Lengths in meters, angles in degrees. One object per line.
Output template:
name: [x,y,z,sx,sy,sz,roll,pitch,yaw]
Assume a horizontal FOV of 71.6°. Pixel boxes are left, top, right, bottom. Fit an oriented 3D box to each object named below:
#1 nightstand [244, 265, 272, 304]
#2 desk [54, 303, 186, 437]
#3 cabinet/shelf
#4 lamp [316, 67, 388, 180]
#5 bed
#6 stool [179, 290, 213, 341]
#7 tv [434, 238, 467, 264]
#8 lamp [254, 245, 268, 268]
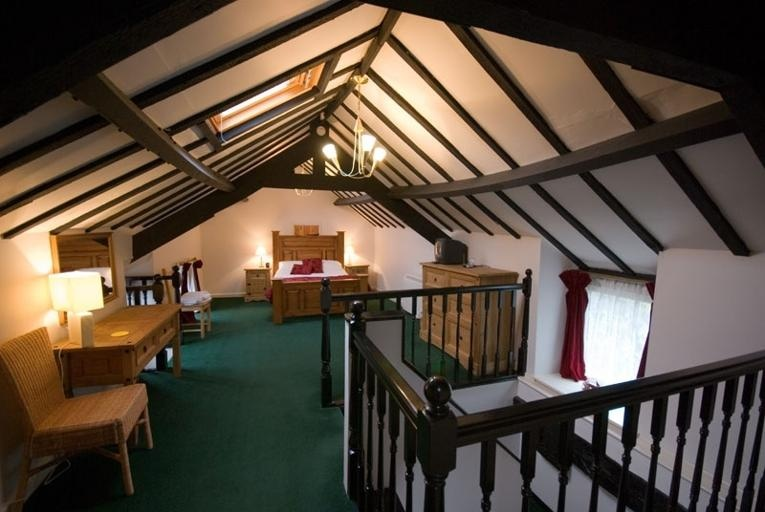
nightstand: [-2.226,0.570,9.510,0.499,0.585,0.438,-3,-13,-12]
desk: [-2.442,1.071,5.161,0.574,0.879,1.580,0,8,-8]
cabinet/shelf: [0.990,0.678,6.474,0.550,1.153,1.314,-2,9,-22]
lamp: [-0.260,-1.209,5.833,0.845,1.371,0.905,3,-10,-12]
bed: [-1.138,0.254,9.019,1.498,1.415,2.279,-1,4,-10]
stool: [-2.617,0.816,7.403,0.428,0.544,0.542,-10,-5,-26]
tv: [0.871,-0.047,6.865,0.339,0.311,0.331,1,1,-25]
lamp: [-2.180,0.009,9.638,0.239,0.398,0.203,0,-2,-16]
